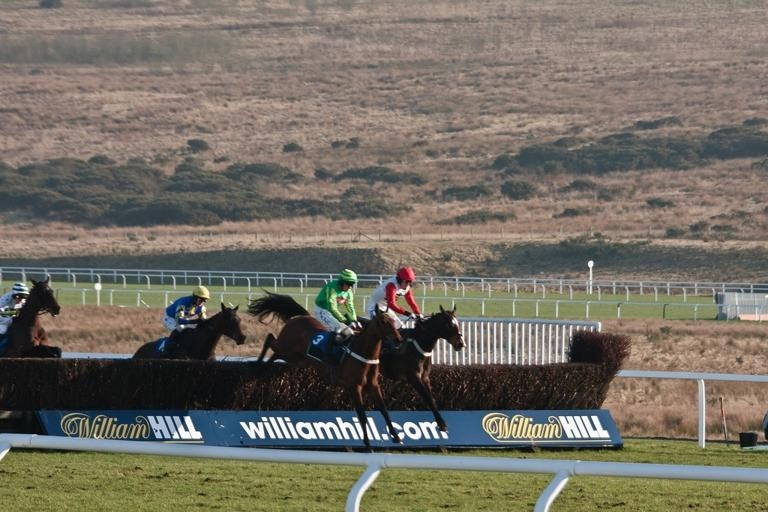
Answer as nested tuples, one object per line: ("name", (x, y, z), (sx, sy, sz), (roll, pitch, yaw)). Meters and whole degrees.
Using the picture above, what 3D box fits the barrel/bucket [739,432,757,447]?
("barrel/bucket", (18.998, 9.718, 116.723), (0.635, 0.538, 0.886), (2, 5, 29))

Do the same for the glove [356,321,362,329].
("glove", (-1.368, 3.699, 116.218), (0.273, 0.350, 0.101), (12, 1, 36))

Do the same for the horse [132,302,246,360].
("horse", (-10.137, 4.180, 117.519), (5.345, 2.683, 1.042), (-2, 3, 3))

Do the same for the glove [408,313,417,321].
("glove", (1.436, 3.263, 116.371), (0.396, 0.355, 0.112), (-7, -32, 10))
